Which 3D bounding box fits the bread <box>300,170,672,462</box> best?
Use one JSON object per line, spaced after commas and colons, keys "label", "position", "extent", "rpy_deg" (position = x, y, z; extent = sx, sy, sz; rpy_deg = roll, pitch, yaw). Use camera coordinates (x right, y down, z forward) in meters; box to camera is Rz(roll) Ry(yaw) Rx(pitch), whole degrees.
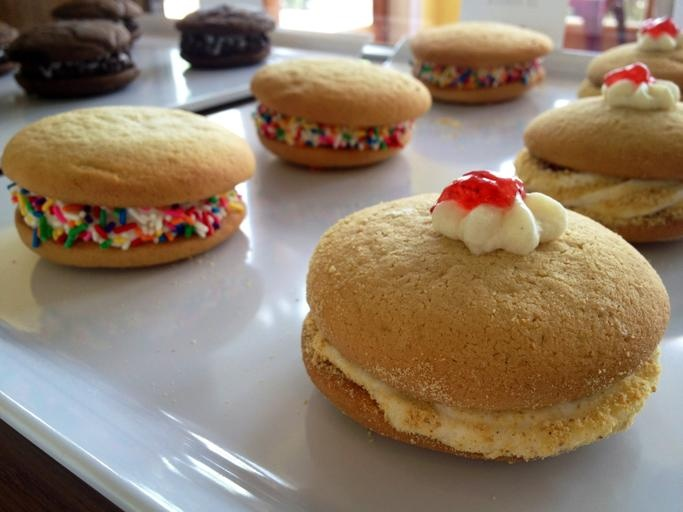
{"label": "bread", "position": [0.248, 0.109, 1.184], "extent": [0.561, 0.346, 0.551], "rpy_deg": [-18, 32, -34]}
